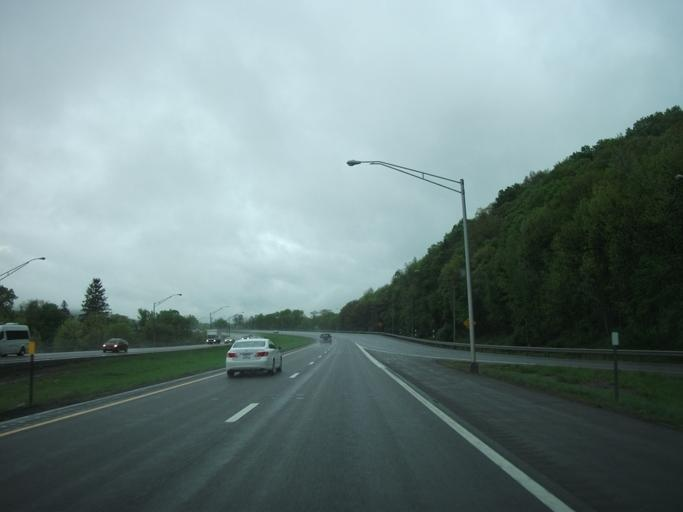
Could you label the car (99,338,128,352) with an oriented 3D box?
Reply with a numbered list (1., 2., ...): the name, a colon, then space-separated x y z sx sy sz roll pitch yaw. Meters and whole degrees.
1. car: -21.285 8.553 63.322 1.640 1.400 3.048 -1 -20 -2
